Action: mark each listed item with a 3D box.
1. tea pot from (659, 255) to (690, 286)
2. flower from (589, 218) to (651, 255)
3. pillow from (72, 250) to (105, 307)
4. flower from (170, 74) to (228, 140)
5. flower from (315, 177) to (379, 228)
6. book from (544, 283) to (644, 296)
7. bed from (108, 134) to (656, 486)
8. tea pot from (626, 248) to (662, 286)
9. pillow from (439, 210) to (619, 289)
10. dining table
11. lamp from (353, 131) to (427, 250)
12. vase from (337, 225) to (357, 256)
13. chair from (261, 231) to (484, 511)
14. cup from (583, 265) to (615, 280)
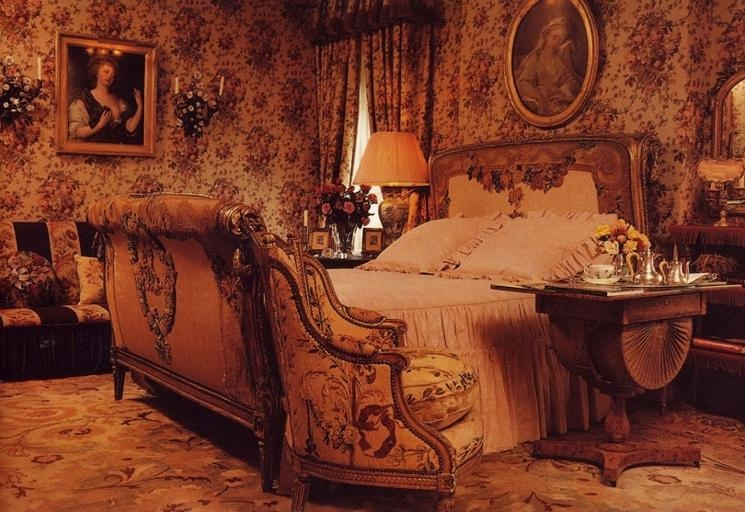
[{"bbox_3d":[1.797,0.092,3.666,0.189,0.224,0.126,3,-6,-16],"label":"tea pot"},{"bbox_3d":[1.455,-0.091,3.574,0.242,0.216,0.241,0,2,13],"label":"flower"},{"bbox_3d":[-2.458,0.219,5.387,0.128,0.419,0.441,-16,-30,9],"label":"pillow"},{"bbox_3d":[-1.815,-1.575,6.433,0.562,0.659,0.208,-4,13,-20],"label":"flower"},{"bbox_3d":[-0.201,-0.459,5.966,0.560,0.503,0.509,-4,16,-3],"label":"flower"},{"bbox_3d":[1.199,0.186,3.352,0.504,0.033,0.264,4,11,19],"label":"book"},{"bbox_3d":[0.178,0.346,3.816,2.371,1.500,2.390,3,-5,-43],"label":"bed"},{"bbox_3d":[1.562,0.050,3.563,0.202,0.218,0.166,-1,11,-2],"label":"tea pot"},{"bbox_3d":[1.166,-0.088,4.383,0.660,0.138,0.718,-16,13,20],"label":"pillow"},{"bbox_3d":[1.393,0.673,3.562,1.102,1.067,0.591,-3,13,-17],"label":"dining table"},{"bbox_3d":[0.176,-0.607,5.831,0.972,0.995,0.976,-4,3,-13],"label":"lamp"},{"bbox_3d":[-0.264,-0.158,5.862,0.249,0.319,0.248,1,3,-5],"label":"vase"},{"bbox_3d":[0.136,0.572,3.503,1.329,1.475,1.026,0,-2,-3],"label":"chair"},{"bbox_3d":[1.328,0.105,3.620,0.095,0.055,0.116,2,-7,-30],"label":"cup"}]
